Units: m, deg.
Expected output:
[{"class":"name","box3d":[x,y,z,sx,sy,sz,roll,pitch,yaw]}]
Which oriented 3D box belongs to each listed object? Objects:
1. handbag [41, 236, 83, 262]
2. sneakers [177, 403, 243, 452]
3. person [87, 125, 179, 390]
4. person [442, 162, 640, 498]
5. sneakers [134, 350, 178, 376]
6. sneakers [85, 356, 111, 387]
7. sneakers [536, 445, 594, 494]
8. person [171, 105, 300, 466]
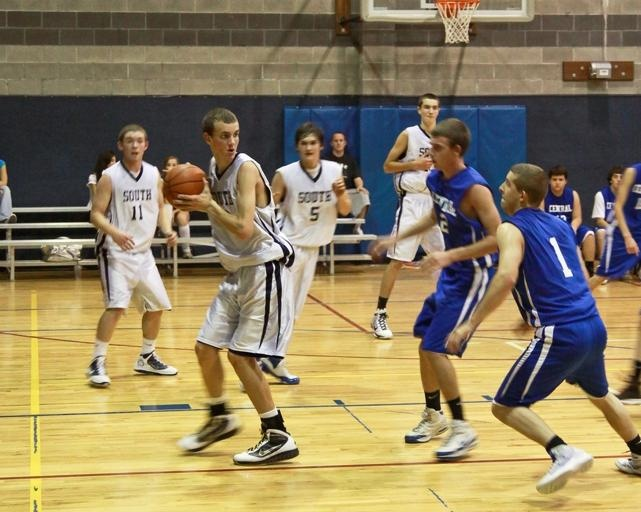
[{"class":"handbag","box3d":[-3.369,-0.061,11.047,0.471,0.196,0.368,3,3,40]},{"class":"sneakers","box3d":[-0.676,1.046,5.098,0.311,0.225,0.117,-26,13,11]},{"class":"person","box3d":[-1.436,-0.028,6.326,0.662,1.879,0.625,-1,8,-11]},{"class":"person","box3d":[1.201,0.387,4.467,1.043,1.709,0.581,1,8,9]},{"class":"sneakers","box3d":[-1.288,0.826,6.546,0.369,0.198,0.149,3,1,1]},{"class":"sneakers","box3d":[-1.637,0.845,6.194,0.152,0.182,0.238,-4,9,-28]},{"class":"sneakers","box3d":[1.288,1.131,4.441,0.092,0.261,0.164,34,17,-47]},{"class":"person","box3d":[-0.471,0.168,4.860,0.677,2.002,0.438,0,7,-2]}]
